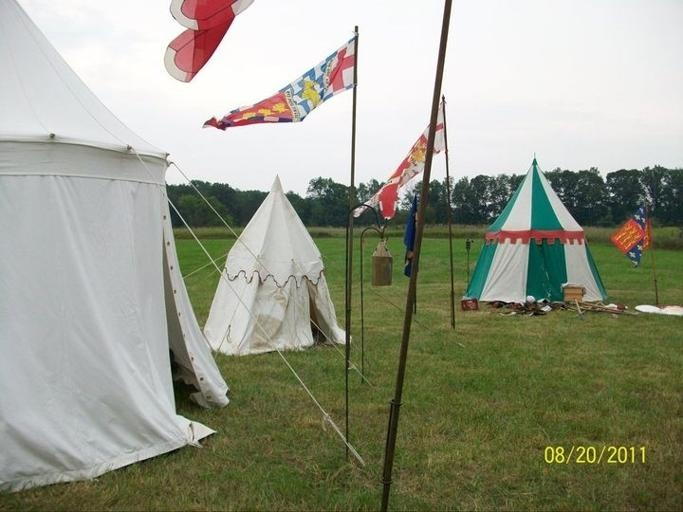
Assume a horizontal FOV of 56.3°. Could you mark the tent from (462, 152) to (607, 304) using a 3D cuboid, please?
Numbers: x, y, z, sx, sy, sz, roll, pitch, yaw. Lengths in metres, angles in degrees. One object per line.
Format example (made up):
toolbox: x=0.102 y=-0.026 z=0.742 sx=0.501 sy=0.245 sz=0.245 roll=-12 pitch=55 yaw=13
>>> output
tent: x=4.824 y=-0.593 z=16.077 sx=3.118 sy=3.103 sz=3.092 roll=0 pitch=4 yaw=-7

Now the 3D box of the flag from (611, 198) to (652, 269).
flag: x=6.741 y=-0.537 z=14.831 sx=0.722 sy=1.839 sz=0.104 roll=22 pitch=56 yaw=24

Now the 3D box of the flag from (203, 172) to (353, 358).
flag: x=-0.598 y=0.161 z=11.312 sx=2.549 sy=2.613 sz=2.660 roll=-16 pitch=4 yaw=-27
